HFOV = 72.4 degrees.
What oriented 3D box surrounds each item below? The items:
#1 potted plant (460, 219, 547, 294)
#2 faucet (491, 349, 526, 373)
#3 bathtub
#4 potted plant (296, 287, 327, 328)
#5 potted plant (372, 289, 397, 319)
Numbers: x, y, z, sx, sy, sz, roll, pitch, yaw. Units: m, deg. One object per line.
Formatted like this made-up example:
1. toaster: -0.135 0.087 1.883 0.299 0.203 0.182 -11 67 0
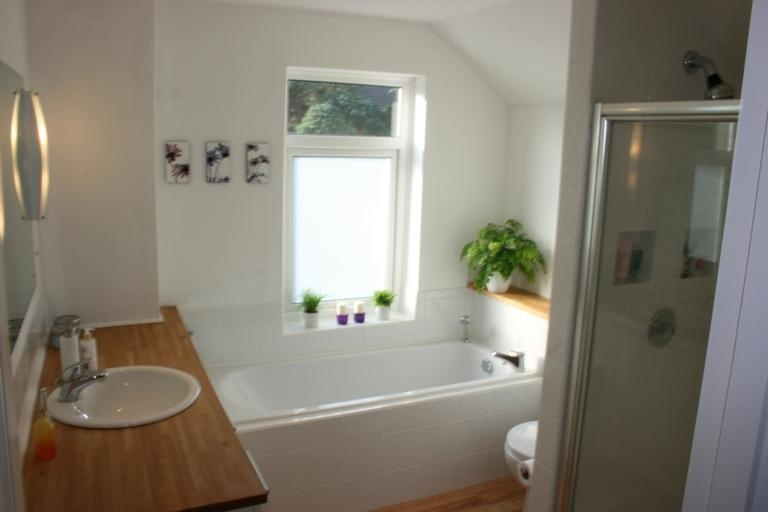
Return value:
1. potted plant: 0.889 -0.022 3.980 0.549 0.362 0.561 3 15 27
2. faucet: 0.902 0.731 3.782 0.209 0.141 0.191 2 9 17
3. bathtub: -0.034 0.934 3.622 2.129 0.346 0.836 -4 9 -21
4. potted plant: -0.555 0.407 4.070 0.229 0.312 0.236 1 0 26
5. potted plant: -0.005 0.389 4.199 0.158 0.216 0.143 -1 8 0
